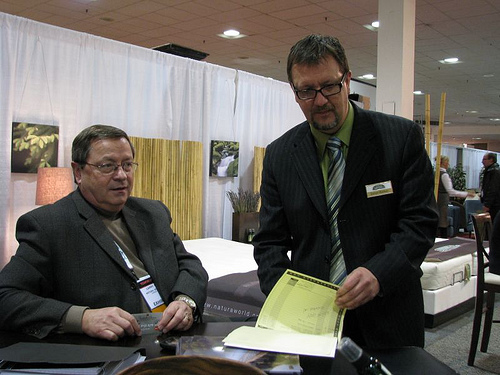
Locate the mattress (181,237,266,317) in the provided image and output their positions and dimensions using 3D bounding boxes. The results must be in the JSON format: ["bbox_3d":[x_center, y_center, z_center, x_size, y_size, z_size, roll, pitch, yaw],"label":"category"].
[{"bbox_3d":[-0.152,0.842,3.531,0.771,0.201,0.793,1,2,36],"label":"mattress"}]

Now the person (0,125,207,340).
[{"bbox_3d":[-0.602,0.147,1.577,0.833,0.874,0.715,-3,3,-23],"label":"person"}]

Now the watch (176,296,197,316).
[{"bbox_3d":[-0.273,0.517,1.589,0.061,0.077,0.028,5,5,29],"label":"watch"}]

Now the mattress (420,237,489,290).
[{"bbox_3d":[2.121,0.812,3.723,0.666,0.218,0.980,-4,-1,36],"label":"mattress"}]
